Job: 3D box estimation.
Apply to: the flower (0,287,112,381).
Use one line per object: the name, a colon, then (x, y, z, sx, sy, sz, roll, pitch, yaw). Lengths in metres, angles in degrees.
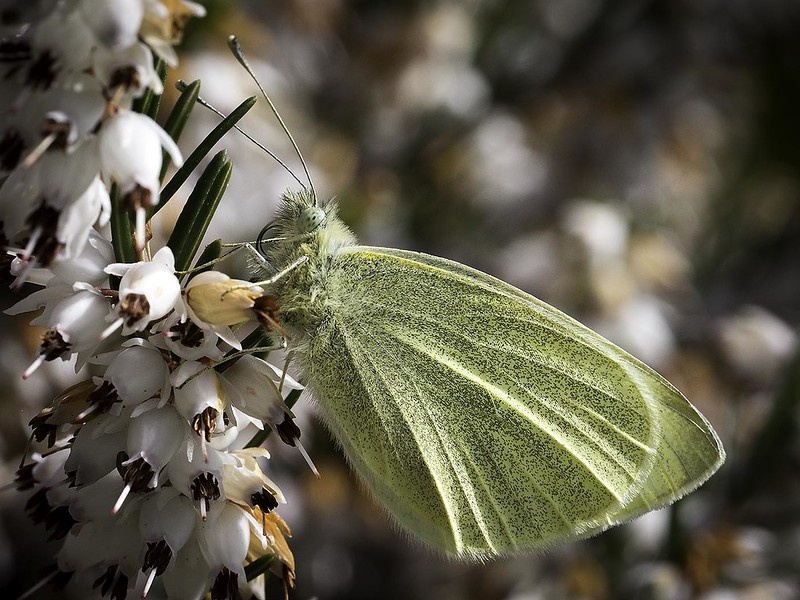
flower: (-0.318, 0.029, 0.763, 0.064, 0.047, 0.115, 30, 48, -3)

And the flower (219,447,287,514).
flower: (-0.147, 0.182, 0.803, 0.059, 0.029, 0.062, 26, 71, 6)

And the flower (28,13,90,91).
flower: (-0.294, -0.216, 0.684, 0.040, 0.064, 0.062, -18, 115, -16)

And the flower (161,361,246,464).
flower: (-0.188, 0.097, 0.785, 0.091, 0.068, 0.057, 7, 93, -18)

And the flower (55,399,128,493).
flower: (-0.286, 0.142, 0.756, 0.059, 0.031, 0.070, 39, 78, 0)

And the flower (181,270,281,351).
flower: (-0.162, 0.009, 0.768, 0.080, 0.046, 0.056, 6, 46, 3)

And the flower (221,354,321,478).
flower: (-0.130, 0.108, 0.844, 0.062, 0.043, 0.152, -35, 94, -12)

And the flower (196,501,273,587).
flower: (-0.165, 0.233, 0.787, 0.057, 0.028, 0.072, -18, 96, 21)
